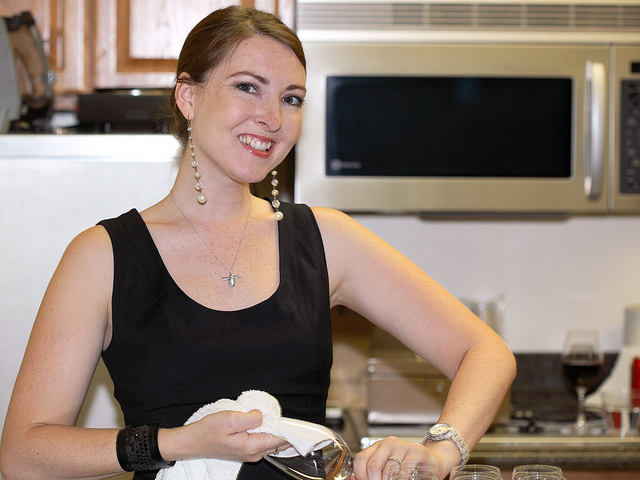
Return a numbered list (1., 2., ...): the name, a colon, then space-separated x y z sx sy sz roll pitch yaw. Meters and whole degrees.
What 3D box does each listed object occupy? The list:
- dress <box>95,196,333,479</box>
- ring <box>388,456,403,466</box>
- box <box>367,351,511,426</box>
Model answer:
1. dress: -0.238 0.185 1.693 0.533 0.511 0.293 -4 13 -6
2. ring: 0.146 0.432 1.396 0.026 0.011 0.025 31 -2 1
3. box: 0.416 0.513 2.559 0.469 0.207 0.328 -1 14 6
